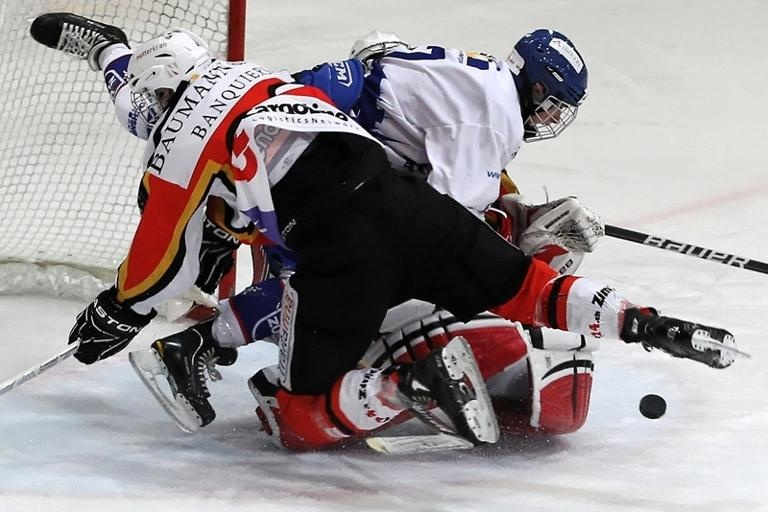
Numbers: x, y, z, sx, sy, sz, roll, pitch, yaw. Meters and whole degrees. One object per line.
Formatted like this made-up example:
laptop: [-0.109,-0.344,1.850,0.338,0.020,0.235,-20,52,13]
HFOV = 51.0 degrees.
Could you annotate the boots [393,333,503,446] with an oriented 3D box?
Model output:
boots: [0.285,0.475,2.915,0.257,0.525,0.177,-21,20,27]

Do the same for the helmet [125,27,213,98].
helmet: [-0.766,-0.673,2.939,0.320,0.233,0.233,-15,11,13]

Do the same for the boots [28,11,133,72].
boots: [-1.355,-1.039,3.821,0.602,0.191,0.250,6,32,-8]

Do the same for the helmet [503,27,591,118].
helmet: [0.702,-0.847,3.550,0.364,0.327,0.290,34,18,-21]

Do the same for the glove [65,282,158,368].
glove: [-1.036,0.270,3.111,0.208,0.386,0.129,51,19,6]
